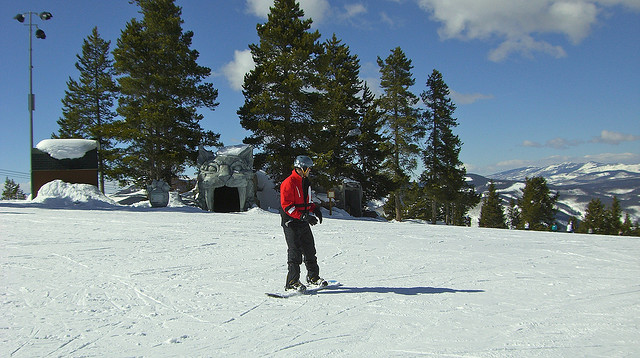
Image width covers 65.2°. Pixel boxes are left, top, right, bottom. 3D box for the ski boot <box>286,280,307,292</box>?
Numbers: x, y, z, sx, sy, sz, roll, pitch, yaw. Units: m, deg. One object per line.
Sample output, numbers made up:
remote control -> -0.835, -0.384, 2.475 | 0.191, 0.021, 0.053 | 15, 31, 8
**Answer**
ski boot -> -0.779, 3.572, 16.554 | 0.617, 0.258, 0.323 | -4, -3, 14
